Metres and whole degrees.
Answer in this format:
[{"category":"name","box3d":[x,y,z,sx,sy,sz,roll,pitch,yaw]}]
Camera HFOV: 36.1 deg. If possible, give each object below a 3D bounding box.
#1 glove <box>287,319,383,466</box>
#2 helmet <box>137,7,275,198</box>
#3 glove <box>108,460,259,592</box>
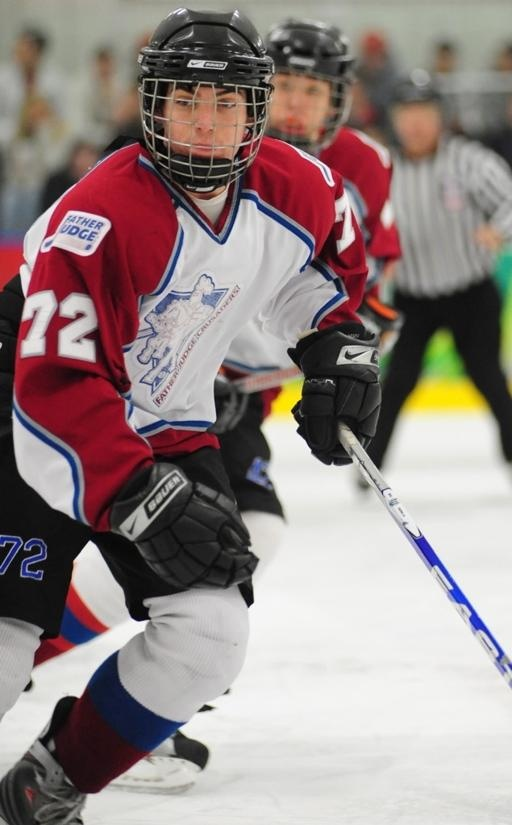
[{"category":"glove","box3d":[0.135,-0.026,1.345,0.155,0.221,0.172,1,1,34]},{"category":"helmet","box3d":[-0.071,-0.443,1.127,0.219,0.255,0.267,0,36,-3]},{"category":"glove","box3d":[-0.098,0.133,0.931,0.184,0.118,0.059,38,-17,-16]}]
